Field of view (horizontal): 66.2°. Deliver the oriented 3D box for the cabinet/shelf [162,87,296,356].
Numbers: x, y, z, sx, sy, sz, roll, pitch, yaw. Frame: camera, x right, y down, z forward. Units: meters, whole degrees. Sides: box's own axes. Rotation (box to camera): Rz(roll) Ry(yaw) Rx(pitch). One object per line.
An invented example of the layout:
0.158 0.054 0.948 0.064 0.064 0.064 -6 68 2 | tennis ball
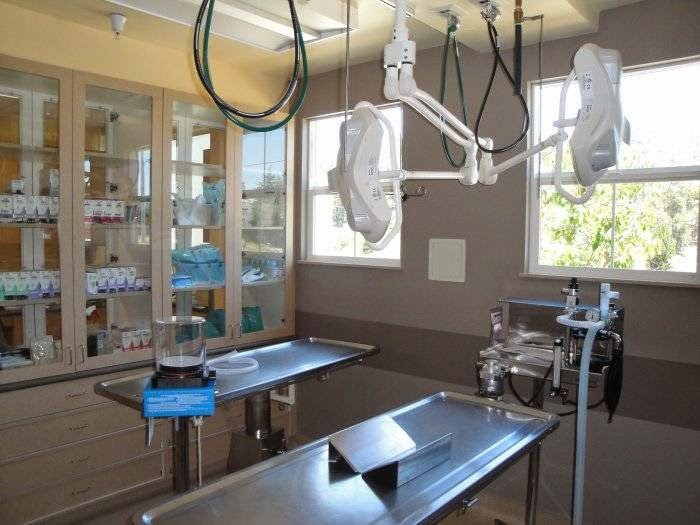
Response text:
-0.890 -0.280 4.164 0.294 1.927 1.205 11 18 40 | cabinet/shelf
